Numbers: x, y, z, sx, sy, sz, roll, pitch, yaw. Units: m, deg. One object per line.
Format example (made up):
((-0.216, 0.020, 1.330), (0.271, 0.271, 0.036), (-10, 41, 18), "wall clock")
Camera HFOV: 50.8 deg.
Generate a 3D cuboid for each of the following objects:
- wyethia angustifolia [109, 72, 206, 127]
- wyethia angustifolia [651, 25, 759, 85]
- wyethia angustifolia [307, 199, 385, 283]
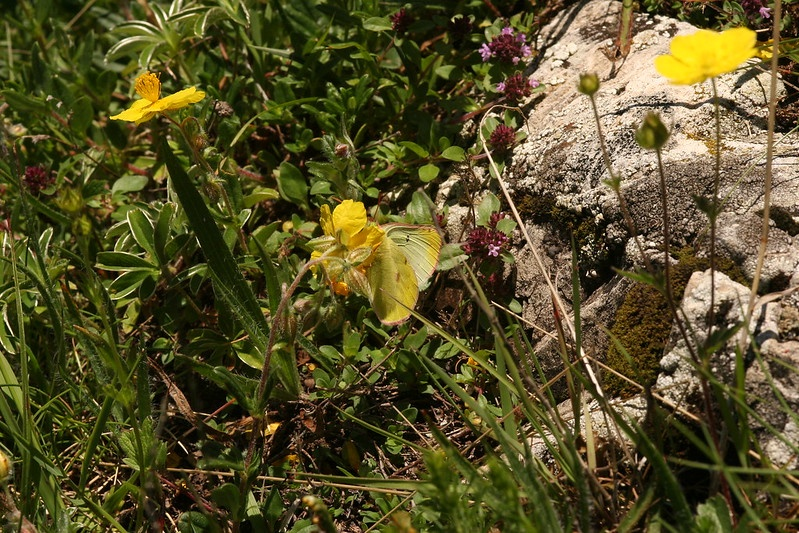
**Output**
((-1.242, -0.909, 4.458), (0.454, 0.283, 0.301), (-11, 45, 2), "wyethia angustifolia")
((1.359, -0.922, 3.745), (0.408, 0.217, 0.284), (-10, 45, 3), "wyethia angustifolia")
((-0.270, -0.157, 4.457), (0.367, 0.448, 0.196), (-2, 4, -8), "wyethia angustifolia")
